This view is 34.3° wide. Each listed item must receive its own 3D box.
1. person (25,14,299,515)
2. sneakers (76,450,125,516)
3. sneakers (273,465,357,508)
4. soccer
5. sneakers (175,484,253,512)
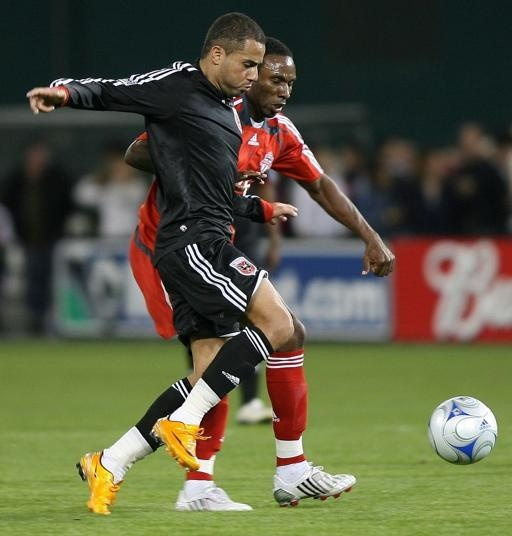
[{"bbox_3d":[-0.249,-0.141,3.037,0.579,1.640,0.761,12,15,43],"label":"person"},{"bbox_3d":[-0.578,0.785,3.116,0.149,0.260,0.116,-12,0,37],"label":"sneakers"},{"bbox_3d":[0.211,0.873,3.371,0.405,0.154,0.133,-8,6,0],"label":"sneakers"},{"bbox_3d":[0.875,0.685,3.692,0.358,0.301,0.300,-2,27,3],"label":"soccer"},{"bbox_3d":[-0.124,0.892,3.181,0.347,0.100,0.099,2,-3,4],"label":"sneakers"}]
